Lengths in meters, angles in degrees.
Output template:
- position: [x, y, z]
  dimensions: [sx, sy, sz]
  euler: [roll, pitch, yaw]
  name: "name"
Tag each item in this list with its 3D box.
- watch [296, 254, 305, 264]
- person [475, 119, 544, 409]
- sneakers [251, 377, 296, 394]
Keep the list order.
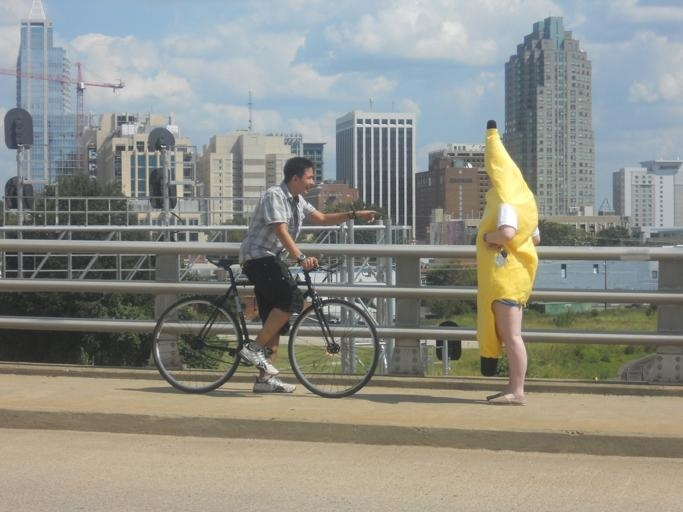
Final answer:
- position: [-0.553, 0.063, 22.449]
  dimensions: [0.120, 0.074, 0.110]
  euler: [-24, -2, -11]
  name: "watch"
- position: [2.237, 0.119, 22.291]
  dimensions: [0.857, 3.800, 0.464]
  euler: [5, 0, 6]
  name: "person"
- position: [-0.956, 1.836, 22.986]
  dimensions: [0.652, 0.255, 0.215]
  euler: [1, -2, -7]
  name: "sneakers"
